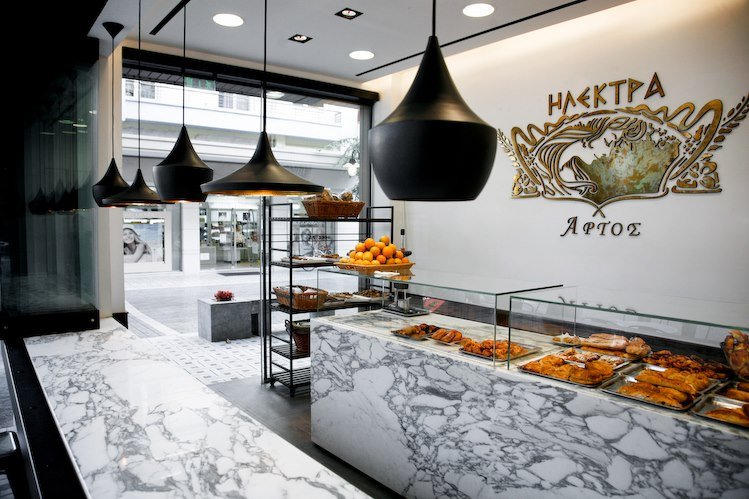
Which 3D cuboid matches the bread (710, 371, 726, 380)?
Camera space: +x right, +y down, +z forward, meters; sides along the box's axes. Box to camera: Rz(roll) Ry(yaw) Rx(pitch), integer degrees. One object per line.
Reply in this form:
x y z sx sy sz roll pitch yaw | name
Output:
1.731 0.632 2.265 0.049 0.013 0.048 -13 7 -42 | bread

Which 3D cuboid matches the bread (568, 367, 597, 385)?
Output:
1.165 0.684 2.504 0.099 0.069 0.102 0 -1 -38 | bread

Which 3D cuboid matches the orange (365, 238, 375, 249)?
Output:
-0.036 -0.055 4.038 0.094 0.106 0.093 3 15 9 | orange

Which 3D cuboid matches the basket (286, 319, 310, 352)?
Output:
-0.891 0.962 5.045 0.315 0.282 0.300 -10 -9 -11 | basket

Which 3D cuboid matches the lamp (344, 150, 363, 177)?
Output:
-0.299 -1.238 6.531 0.301 0.299 0.321 1 -4 -2 | lamp

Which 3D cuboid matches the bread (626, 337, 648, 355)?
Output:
1.435 0.526 2.473 0.101 0.033 0.100 -32 35 -27 | bread

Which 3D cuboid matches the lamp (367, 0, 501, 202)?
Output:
0.217 -0.478 1.642 0.399 0.595 0.286 -10 16 -25 | lamp

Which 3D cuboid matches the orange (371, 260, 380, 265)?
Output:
0.022 0.111 3.871 0.051 0.040 0.042 -2 -14 -30 | orange

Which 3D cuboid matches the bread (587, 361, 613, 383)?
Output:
1.259 0.670 2.501 0.097 0.036 0.120 -8 15 -16 | bread

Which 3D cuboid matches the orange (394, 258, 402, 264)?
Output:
0.212 0.095 3.938 0.049 0.057 0.048 -31 23 -26 | orange

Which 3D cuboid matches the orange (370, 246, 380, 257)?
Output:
0.016 0.014 3.979 0.083 0.096 0.082 -1 15 11 | orange

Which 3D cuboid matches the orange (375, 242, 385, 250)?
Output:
0.054 -0.043 3.998 0.067 0.076 0.065 -12 18 -6 | orange

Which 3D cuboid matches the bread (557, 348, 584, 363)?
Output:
1.139 0.605 2.614 0.073 0.019 0.075 -16 29 18 | bread

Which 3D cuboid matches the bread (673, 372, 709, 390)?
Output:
1.635 0.670 2.305 0.136 0.064 0.067 9 18 40 | bread

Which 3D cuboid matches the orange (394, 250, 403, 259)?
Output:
0.210 0.038 4.009 0.067 0.065 0.066 3 23 28 | orange

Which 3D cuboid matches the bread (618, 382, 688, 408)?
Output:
1.437 0.740 2.318 0.124 0.025 0.184 -6 9 -30 | bread

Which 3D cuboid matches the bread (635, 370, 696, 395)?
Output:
1.532 0.674 2.353 0.186 0.044 0.096 11 25 44 | bread

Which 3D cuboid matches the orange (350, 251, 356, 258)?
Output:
-0.189 0.037 4.029 0.051 0.060 0.050 12 45 5 | orange

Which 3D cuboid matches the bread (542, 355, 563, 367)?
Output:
1.053 0.653 2.653 0.067 0.030 0.085 2 0 28 | bread

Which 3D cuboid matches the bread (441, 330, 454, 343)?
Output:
0.505 0.587 3.048 0.060 0.077 0.023 1 -22 29 | bread

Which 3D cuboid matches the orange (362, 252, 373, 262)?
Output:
-0.048 0.064 3.941 0.075 0.072 0.085 -21 -27 -7 | orange
